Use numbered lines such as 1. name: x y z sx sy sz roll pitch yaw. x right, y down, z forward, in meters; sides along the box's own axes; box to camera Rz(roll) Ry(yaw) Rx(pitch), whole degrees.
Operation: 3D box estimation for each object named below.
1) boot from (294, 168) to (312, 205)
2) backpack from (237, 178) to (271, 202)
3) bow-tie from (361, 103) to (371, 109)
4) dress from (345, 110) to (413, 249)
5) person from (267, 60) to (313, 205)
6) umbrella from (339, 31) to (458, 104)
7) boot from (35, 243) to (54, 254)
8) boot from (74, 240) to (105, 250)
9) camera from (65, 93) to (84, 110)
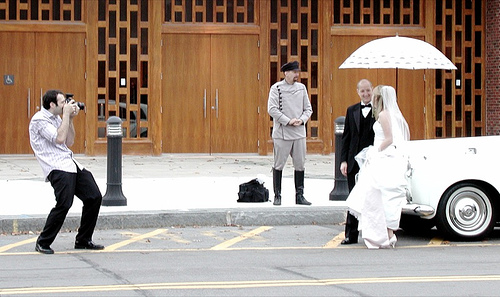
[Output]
1. boot: 1.213 0.863 21.935 0.381 0.737 0.572 1 12 0
2. backpack: 0.051 0.968 22.042 0.541 0.349 0.554 0 -1 5
3. bow-tie: 2.423 -0.902 19.840 0.196 0.115 0.037 3 12 10
4. dress: 2.610 0.605 19.228 1.173 2.701 0.743 3 12 8
5. person: 0.888 -0.393 21.871 0.982 3.221 0.846 1 12 3
6. umbrella: 3.872 -1.997 24.921 2.881 2.088 3.025 -8 13 -31
7. boot: -4.085 1.947 18.681 0.384 0.160 0.149 3 2 24
8. boot: -3.243 1.888 19.099 0.614 0.273 0.214 1 1 -9
9. camera: -3.523 -0.937 18.904 0.327 0.201 0.312 -1 5 -13
